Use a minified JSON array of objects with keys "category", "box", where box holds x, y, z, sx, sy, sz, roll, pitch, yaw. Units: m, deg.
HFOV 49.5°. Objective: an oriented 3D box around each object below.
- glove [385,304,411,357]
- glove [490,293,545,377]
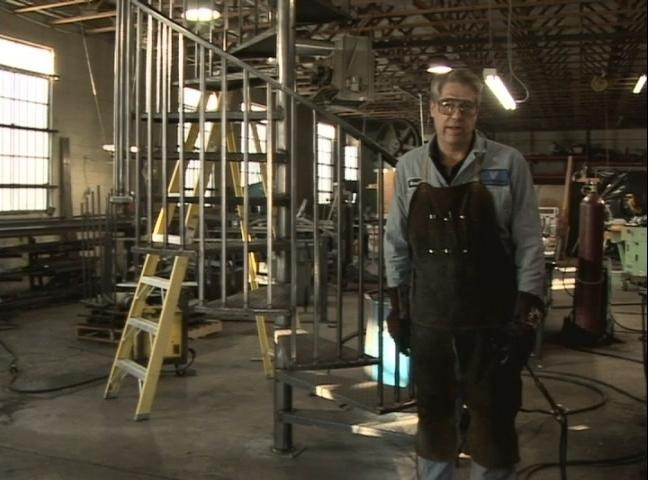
[{"category":"glove","box":[0.491,0.589,4.512,0.187,0.268,0.112,2,8,12]},{"category":"glove","box":[1.212,0.574,4.288,0.291,0.466,0.254,13,19,20]}]
